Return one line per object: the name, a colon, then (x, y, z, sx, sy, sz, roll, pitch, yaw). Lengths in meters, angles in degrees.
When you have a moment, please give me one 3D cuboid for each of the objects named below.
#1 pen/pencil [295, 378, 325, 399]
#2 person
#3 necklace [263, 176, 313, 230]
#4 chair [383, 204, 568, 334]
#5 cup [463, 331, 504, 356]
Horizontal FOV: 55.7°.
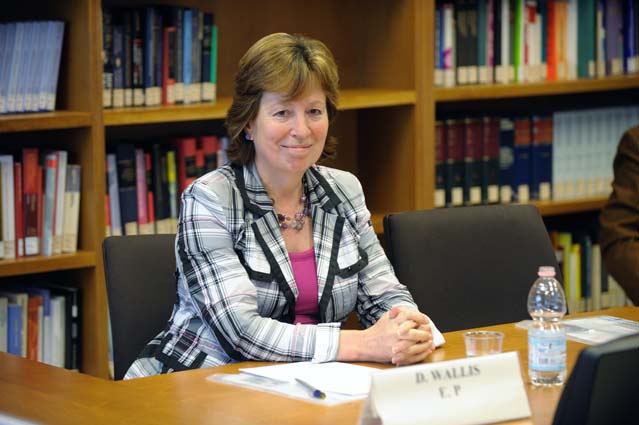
pen/pencil: (-0.025, 0.387, 1.375, 0.016, 0.021, 0.108, -17, 18, -30)
person: (-0.121, 0.061, 1.961, 0.807, 1.186, 1.086, -4, 9, -31)
necklace: (-0.107, -0.026, 1.901, 0.109, 0.145, 0.054, -4, -15, 5)
chair: (0.499, 0.148, 2.317, 0.470, 0.614, 0.491, -8, -2, -19)
cup: (0.382, 0.290, 1.410, 0.077, 0.058, 0.077, -1, 2, 0)
